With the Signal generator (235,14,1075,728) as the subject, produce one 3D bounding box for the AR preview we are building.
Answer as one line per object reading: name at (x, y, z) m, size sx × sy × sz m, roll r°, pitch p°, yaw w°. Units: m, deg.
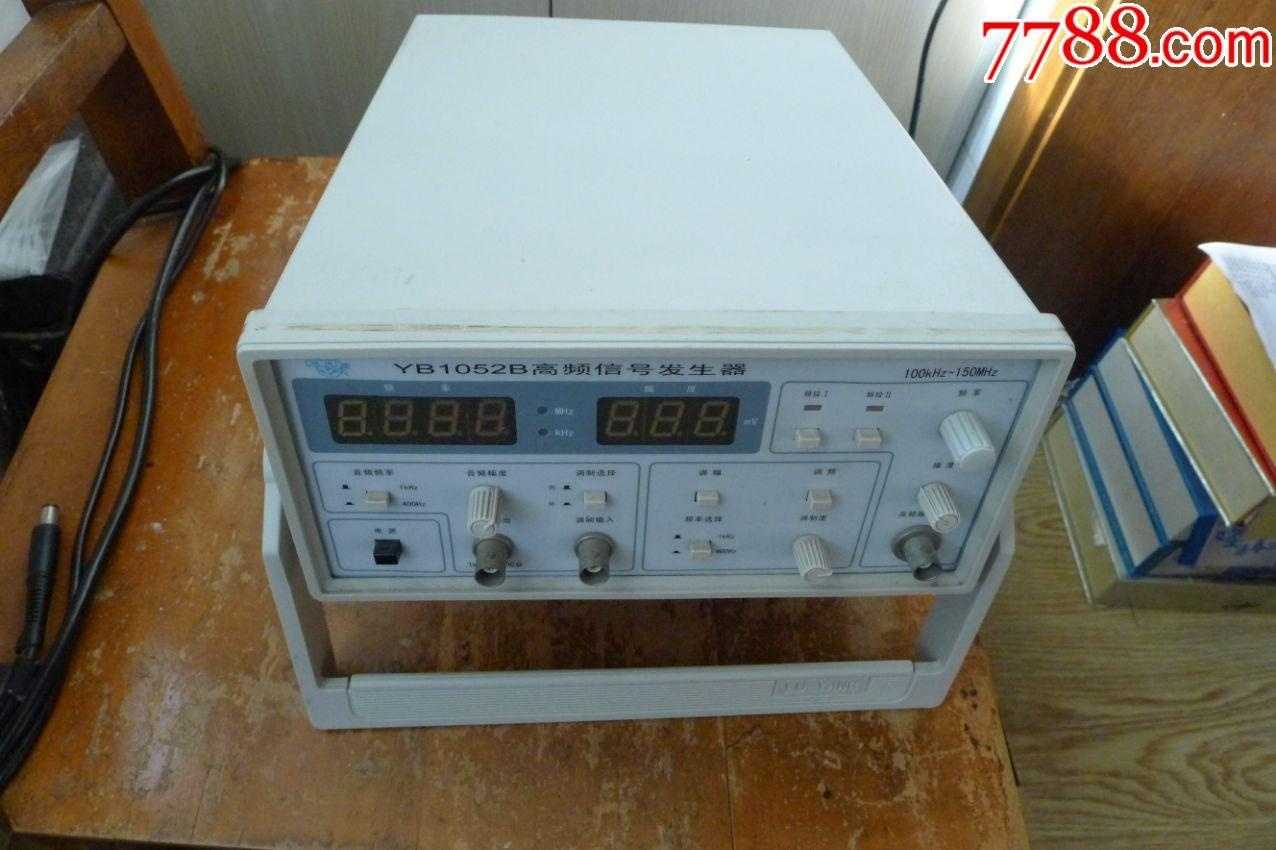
Signal generator at (0.007, -0.075, 1.406) m, size 0.946 × 0.555 × 0.766 m, roll 0°, pitch 47°, yaw -4°
